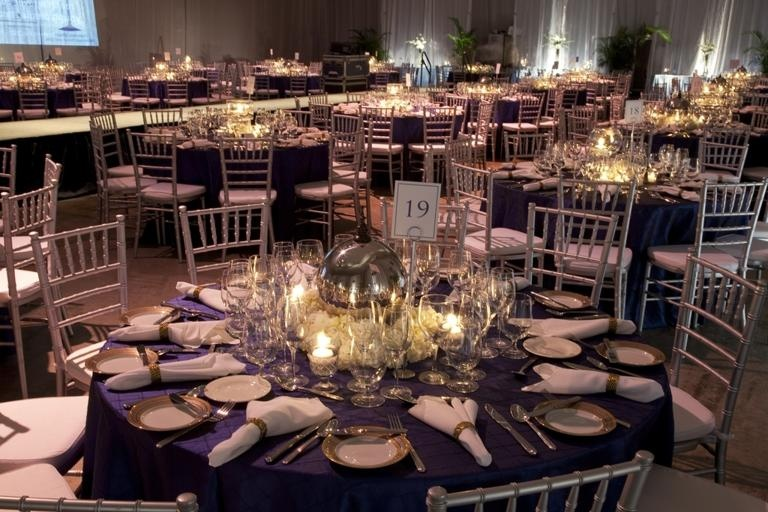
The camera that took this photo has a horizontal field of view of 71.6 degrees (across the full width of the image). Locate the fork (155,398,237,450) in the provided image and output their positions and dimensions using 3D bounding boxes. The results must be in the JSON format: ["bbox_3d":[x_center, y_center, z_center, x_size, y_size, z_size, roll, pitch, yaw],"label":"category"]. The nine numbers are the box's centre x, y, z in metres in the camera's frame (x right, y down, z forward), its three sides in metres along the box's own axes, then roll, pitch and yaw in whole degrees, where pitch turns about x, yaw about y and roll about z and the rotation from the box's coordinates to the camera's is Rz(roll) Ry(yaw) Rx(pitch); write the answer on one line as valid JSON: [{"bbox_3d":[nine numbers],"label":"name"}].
[{"bbox_3d":[-0.642,0.581,1.821,0.249,0.038,0.043,-26,41,-32],"label":"fork"}]

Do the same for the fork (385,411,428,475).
[{"bbox_3d":[0.071,0.616,1.757,0.046,0.042,0.362,-6,33,-12],"label":"fork"}]

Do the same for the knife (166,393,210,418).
[{"bbox_3d":[-0.696,0.535,1.896,0.028,0.022,0.190,-30,28,-35],"label":"knife"}]

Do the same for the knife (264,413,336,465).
[{"bbox_3d":[-0.283,0.607,1.752,0.041,0.031,0.312,32,32,23],"label":"knife"}]

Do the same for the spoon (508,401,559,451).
[{"bbox_3d":[0.513,0.591,1.827,0.050,0.031,0.227,-25,32,-15],"label":"spoon"}]

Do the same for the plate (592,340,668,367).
[{"bbox_3d":[1.026,0.404,2.222,0.147,0.021,0.153,6,21,18],"label":"plate"}]

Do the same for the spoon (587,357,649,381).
[{"bbox_3d":[0.921,0.451,2.103,0.188,0.020,0.028,12,59,15],"label":"spoon"}]

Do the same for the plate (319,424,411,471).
[{"bbox_3d":[-0.054,0.621,1.729,0.290,0.049,0.169,-2,18,-2],"label":"plate"}]

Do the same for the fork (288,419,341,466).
[{"bbox_3d":[-0.220,0.592,1.802,0.057,0.043,0.285,31,29,19],"label":"fork"}]

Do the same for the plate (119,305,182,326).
[{"bbox_3d":[-1.080,0.277,2.452,0.131,0.018,0.132,0,21,-12],"label":"plate"}]

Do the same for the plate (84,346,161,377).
[{"bbox_3d":[-1.040,0.422,2.143,0.163,0.020,0.166,2,22,-5],"label":"plate"}]
